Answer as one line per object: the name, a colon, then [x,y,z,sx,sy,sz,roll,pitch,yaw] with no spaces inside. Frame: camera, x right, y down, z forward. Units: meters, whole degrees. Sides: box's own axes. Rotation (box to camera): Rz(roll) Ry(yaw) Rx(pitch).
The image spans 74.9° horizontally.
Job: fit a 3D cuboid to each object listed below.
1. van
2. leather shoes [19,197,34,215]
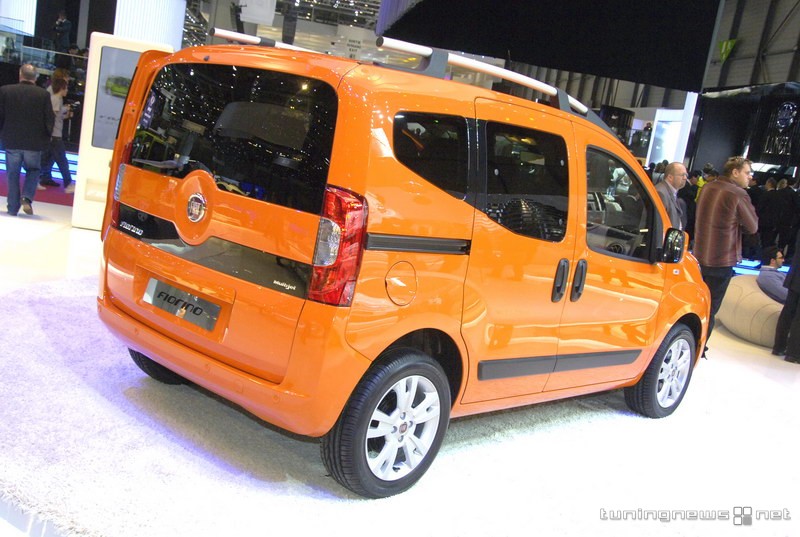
van: [0.663,-0.149,4.557,4.657,2.480,2.530,-3,13,-41]
leather shoes: [-5.613,-0.954,7.887,0.138,0.268,0.261,-5,21,-35]
